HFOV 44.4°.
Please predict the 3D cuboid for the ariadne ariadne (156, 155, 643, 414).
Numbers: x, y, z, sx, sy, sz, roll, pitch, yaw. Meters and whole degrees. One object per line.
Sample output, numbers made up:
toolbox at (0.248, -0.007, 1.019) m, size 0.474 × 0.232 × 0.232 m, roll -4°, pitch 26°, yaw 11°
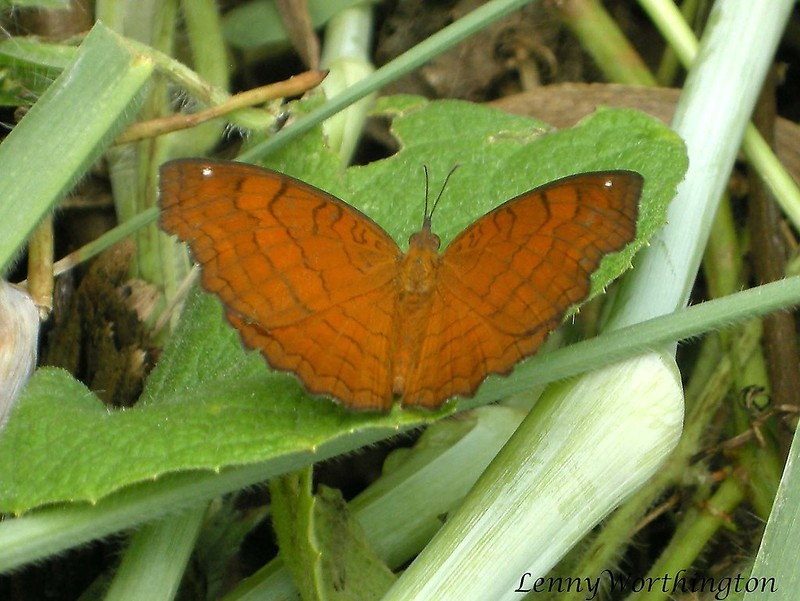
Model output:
ariadne ariadne at (0.005, -0.016, 1.215) m, size 0.550 × 0.354 × 0.114 m, roll 3°, pitch 0°, yaw -1°
